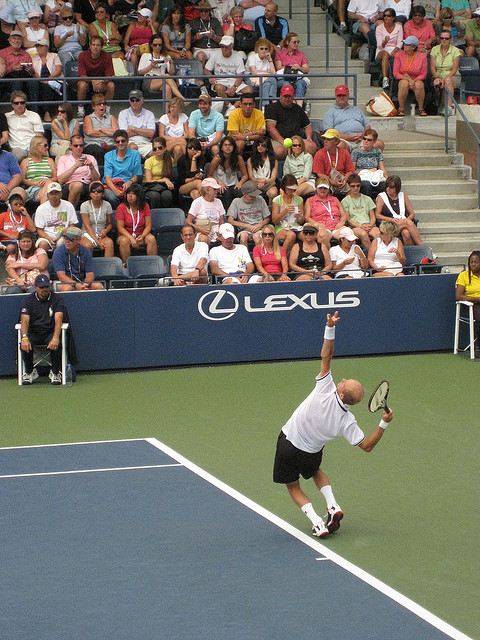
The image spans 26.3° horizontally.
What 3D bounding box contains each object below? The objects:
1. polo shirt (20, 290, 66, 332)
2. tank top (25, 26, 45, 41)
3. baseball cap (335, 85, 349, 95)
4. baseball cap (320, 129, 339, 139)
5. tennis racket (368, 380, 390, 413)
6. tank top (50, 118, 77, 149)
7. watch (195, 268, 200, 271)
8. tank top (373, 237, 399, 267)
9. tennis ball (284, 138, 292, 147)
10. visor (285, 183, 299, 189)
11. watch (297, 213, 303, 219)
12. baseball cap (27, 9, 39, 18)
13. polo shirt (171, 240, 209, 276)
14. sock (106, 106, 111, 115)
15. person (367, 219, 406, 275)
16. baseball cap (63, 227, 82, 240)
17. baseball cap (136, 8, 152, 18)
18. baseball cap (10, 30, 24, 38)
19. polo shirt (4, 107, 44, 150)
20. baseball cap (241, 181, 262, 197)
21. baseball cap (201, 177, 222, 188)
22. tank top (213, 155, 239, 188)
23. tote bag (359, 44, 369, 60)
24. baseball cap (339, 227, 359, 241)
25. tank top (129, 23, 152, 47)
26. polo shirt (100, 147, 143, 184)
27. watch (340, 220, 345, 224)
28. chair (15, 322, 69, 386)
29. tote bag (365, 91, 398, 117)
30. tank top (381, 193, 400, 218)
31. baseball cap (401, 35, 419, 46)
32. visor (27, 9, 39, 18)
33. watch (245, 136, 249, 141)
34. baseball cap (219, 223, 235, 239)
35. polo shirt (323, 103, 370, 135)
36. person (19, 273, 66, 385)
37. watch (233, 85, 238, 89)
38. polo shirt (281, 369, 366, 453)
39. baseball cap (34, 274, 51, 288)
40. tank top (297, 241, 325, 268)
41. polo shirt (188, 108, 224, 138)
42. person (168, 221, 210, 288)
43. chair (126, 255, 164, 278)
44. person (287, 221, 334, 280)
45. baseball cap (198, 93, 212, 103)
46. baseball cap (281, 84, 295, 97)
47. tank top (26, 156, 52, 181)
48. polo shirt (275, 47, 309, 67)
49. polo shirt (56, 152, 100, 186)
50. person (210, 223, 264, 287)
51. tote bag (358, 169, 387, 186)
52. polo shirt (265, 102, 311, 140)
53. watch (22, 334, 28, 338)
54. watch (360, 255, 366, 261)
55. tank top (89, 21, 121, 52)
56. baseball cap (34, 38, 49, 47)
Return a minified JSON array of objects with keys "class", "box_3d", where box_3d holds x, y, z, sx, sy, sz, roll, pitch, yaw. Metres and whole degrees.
[{"class":"polo shirt","box_3d":[-2.202,-0.029,11.527,0.468,0.583,0.310,4,-4,-16]},{"class":"tank top","box_3d":[-3.257,-4.552,16.498,0.318,0.352,0.189,-1,3,-19]},{"class":"baseball cap","box_3d":[1.538,-3.448,15.493,0.156,0.130,0.197,0,12,-1]},{"class":"baseball cap","box_3d":[1.314,-2.643,14.681,0.215,0.110,0.357,1,12,4]},{"class":"tennis racket","box_3d":[0.912,0.542,6.834,0.045,0.253,0.160,6,55,21]},{"class":"tank top","box_3d":[-2.536,-2.698,14.902,0.386,0.414,0.518,-2,12,-10]},{"class":"watch","box_3d":[-0.503,-0.600,12.578,0.041,0.049,0.045,2,2,-9]},{"class":"tank top","box_3d":[1.880,-0.831,13.481,0.373,0.595,0.301,0,-1,0]},{"class":"tennis ball","box_3d":[0.711,-2.504,14.640,0.097,0.124,0.100,-11,33,7]},{"class":"visor","box_3d":[0.699,-1.751,13.626,0.146,0.063,0.089,-3,12,-13]},{"class":"watch","box_3d":[0.826,-1.388,13.903,0.054,0.084,0.079,2,12,11]},{"class":"baseball cap","box_3d":[-3.268,-4.877,16.428,0.168,0.127,0.219,-3,12,-12]},{"class":"polo shirt","box_3d":[-0.625,-0.761,12.787,0.454,0.597,0.339,0,6,-5]},{"class":"sock","box_3d":[-1.952,-3.132,15.446,0.064,0.120,0.311,-1,12,-7]},{"class":"person","box_3d":[1.917,-0.923,13.215,0.480,0.863,0.647,2,13,0]},{"class":"baseball cap","box_3d":[-1.931,-1.005,12.086,0.237,0.137,0.181,-6,13,-27]},{"class":"baseball cap","box_3d":[-1.571,-5.082,17.052,0.205,0.159,0.563,0,12,2]},{"class":"baseball cap","box_3d":[-3.447,-4.448,16.057,0.205,0.104,0.316,6,11,-10]},{"class":"polo shirt","box_3d":[-3.055,-2.700,14.674,0.504,0.545,0.414,-3,12,-14]},{"class":"baseball cap","box_3d":[0.137,-1.693,13.588,0.225,0.095,0.155,32,51,33]},{"class":"baseball cap","box_3d":[-0.387,-1.805,13.676,0.210,0.091,0.151,3,5,29]},{"class":"tank top","box_3d":[-0.169,-2.054,14.446,0.329,0.486,0.265,-2,46,4]},{"class":"tote bag","box_3d":[2.232,-4.777,18.420,0.238,0.328,0.160,11,15,33]},{"class":"baseball cap","box_3d":[1.379,-1.074,13.141,0.132,0.103,0.210,-10,28,-32]},{"class":"tank top","box_3d":[-1.568,-4.599,16.914,0.362,0.569,0.285,0,-1,-4]},{"class":"polo shirt","box_3d":[-1.599,-2.121,14.308,0.652,0.745,0.395,1,7,-8]},{"class":"watch","box_3d":[1.383,-1.297,13.832,0.039,0.043,0.042,2,13,-5]},{"class":"chair","box_3d":[-2.193,0.399,11.581,0.662,0.909,0.555,-2,3,-22]},{"class":"tote bag","box_3d":[2.402,-3.601,17.319,0.515,0.391,0.319,2,12,10]},{"class":"tank top","box_3d":[2.090,-1.559,14.216,0.239,0.288,0.164,1,11,4]},{"class":"baseball cap","box_3d":[2.841,-4.625,17.057,0.273,0.166,0.190,-2,20,-17]},{"class":"visor","box_3d":[-3.265,-4.876,16.388,0.108,0.134,0.155,-18,-2,-12]},{"class":"watch","box_3d":[0.126,-2.647,15.046,0.035,0.049,0.112,3,13,17]},{"class":"baseball cap","box_3d":[-0.155,-1.082,12.787,0.167,0.175,0.251,-1,12,-5]},{"class":"polo shirt","box_3d":[1.620,-3.041,15.667,0.681,0.440,0.469,1,12,5]},{"class":"person","box_3d":[-2.186,0.137,11.479,0.500,1.226,0.574,-2,11,-9]},{"class":"watch","box_3d":[-0.054,-3.670,16.271,0.042,0.059,0.104,-4,13,-18]},{"class":"polo shirt","box_3d":[0.597,0.684,7.284,0.583,0.594,0.214,1,11,4]},{"class":"baseball cap","box_3d":[-2.176,-0.411,11.407,0.164,0.123,0.191,-3,12,-12]},{"class":"tank top","box_3d":[0.892,-0.754,13.030,0.330,0.500,0.266,0,-7,-1]},{"class":"polo shirt","box_3d":[-0.486,-2.837,15.035,0.566,0.554,0.337,0,3,-1]},{"class":"person","box_3d":[-0.617,-0.807,12.610,0.523,0.656,1.067,-1,12,-2]},{"class":"chair","box_3d":[-1.161,-0.635,12.743,0.468,0.244,0.495,-1,12,-5]},{"class":"person","box_3d":[0.899,-0.871,13.044,0.550,0.948,0.673,0,0,-2]},{"class":"baseball cap","box_3d":[-0.479,-3.169,14.808,0.203,0.106,0.140,-6,13,-26]},{"class":"baseball cap","box_3d":[0.717,-3.383,15.271,0.282,0.200,0.487,3,14,2]},{"class":"tank top","box_3d":[-2.752,-2.014,14.186,0.339,0.537,0.284,-1,0,-13]},{"class":"polo shirt","box_3d":[0.853,-4.441,16.904,0.506,0.484,0.277,0,0,-4]},{"class":"polo shirt","box_3d":[-2.192,-2.049,14.149,0.612,0.603,0.364,1,1,-16]},{"class":"person","box_3d":[-0.020,-0.830,12.832,0.446,0.848,0.923,-13,18,-16]},{"class":"tote bag","box_3d":[1.922,-2.036,14.872,0.375,0.223,0.319,1,12,7]},{"class":"polo shirt","box_3d":[0.746,-2.958,15.438,0.823,0.780,0.443,-1,6,-15]},{"class":"watch","box_3d":[-2.343,0.188,11.328,0.060,0.028,0.053,-9,15,-35]},{"class":"watch","box_3d":[1.579,-0.764,13.245,0.051,0.040,0.103,3,12,12]},{"class":"tank top","box_3d":[-2.143,-4.603,16.744,0.438,0.507,0.518,-1,12,-6]},{"class":"baseball cap","box_3d":[-3.086,-4.360,16.166,0.143,0.129,0.226,5,14,12]}]
